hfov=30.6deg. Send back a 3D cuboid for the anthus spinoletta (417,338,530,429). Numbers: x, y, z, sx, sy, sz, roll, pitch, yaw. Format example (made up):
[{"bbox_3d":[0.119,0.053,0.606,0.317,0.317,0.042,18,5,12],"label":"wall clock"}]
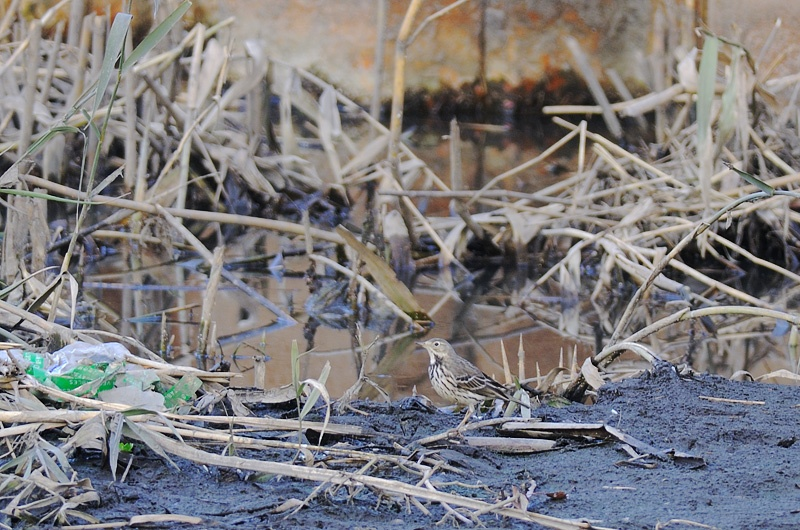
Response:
[{"bbox_3d":[0.346,0.578,6.935,0.572,0.385,0.183,4,-1,-12],"label":"anthus spinoletta"}]
